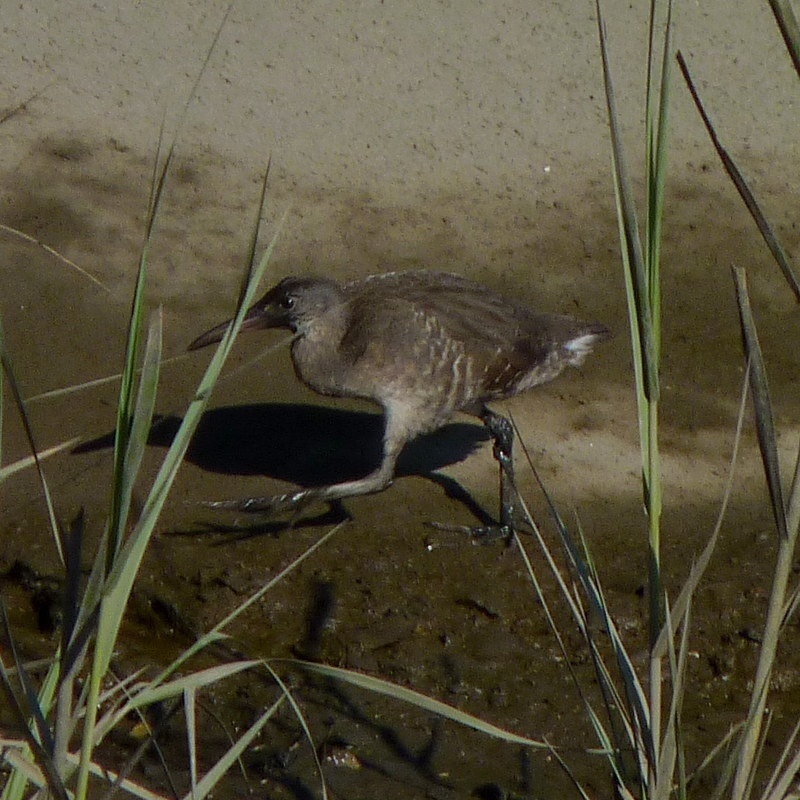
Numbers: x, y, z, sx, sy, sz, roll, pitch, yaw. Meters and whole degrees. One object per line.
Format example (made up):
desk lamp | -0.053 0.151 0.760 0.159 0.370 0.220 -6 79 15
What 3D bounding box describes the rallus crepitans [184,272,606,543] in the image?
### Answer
rallus crepitans | -0.075 -0.076 9.036 2.165 1.688 1.126 1 3 -4
